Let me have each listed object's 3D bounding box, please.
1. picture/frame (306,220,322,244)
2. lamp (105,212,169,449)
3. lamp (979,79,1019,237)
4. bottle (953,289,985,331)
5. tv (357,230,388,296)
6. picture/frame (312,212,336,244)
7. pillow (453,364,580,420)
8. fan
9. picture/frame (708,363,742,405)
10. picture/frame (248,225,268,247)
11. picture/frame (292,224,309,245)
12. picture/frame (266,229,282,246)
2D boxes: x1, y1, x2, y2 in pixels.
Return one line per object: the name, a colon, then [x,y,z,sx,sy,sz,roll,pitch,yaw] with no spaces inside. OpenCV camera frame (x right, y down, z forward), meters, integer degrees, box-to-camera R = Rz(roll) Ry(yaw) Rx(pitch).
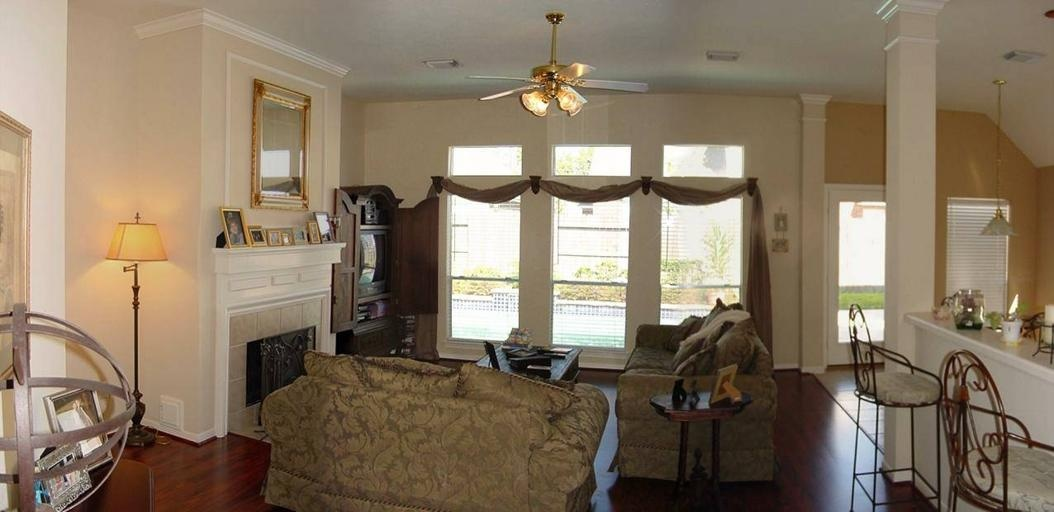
picture/frame: [-3.171,-0.376,9.819,0.054,0.347,0.273,-6,21,23]
lamp: [-5.184,0.940,8.860,0.685,3.340,0.658,-1,0,-29]
lamp: [7.786,-1.554,10.906,0.374,2.354,1.600,-1,0,36]
bottle: [5.272,0.621,7.846,0.304,0.423,0.200,-1,0,24]
tv: [-2.582,0.080,11.189,0.085,1.194,0.745,-1,0,22]
picture/frame: [-3.070,-0.453,9.972,0.053,0.450,0.467,-15,7,22]
pillow: [-0.171,1.504,7.463,0.829,0.237,0.806,6,-8,23]
fan: [0.545,-2.326,8.381,1.742,0.660,1.693,1,7,12]
picture/frame: [2.429,1.553,7.991,0.506,0.408,0.274,-3,2,-27]
picture/frame: [-3.745,-0.298,9.185,0.032,0.268,0.280,-16,6,33]
picture/frame: [-3.322,-0.338,9.701,0.065,0.242,0.269,-9,-5,33]
picture/frame: [-3.588,-0.284,9.381,0.030,0.244,0.240,-20,0,35]
